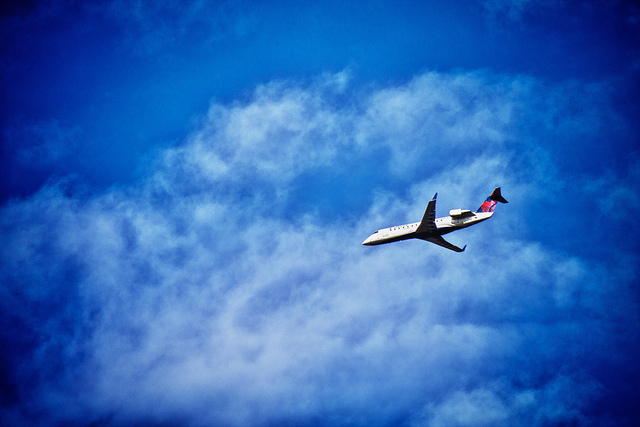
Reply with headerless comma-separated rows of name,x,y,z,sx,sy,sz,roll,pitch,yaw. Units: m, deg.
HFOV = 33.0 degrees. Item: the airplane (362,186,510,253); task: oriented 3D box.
airplane,31.803,4.686,291.518,36.129,25.496,12.377,-17,-82,4
